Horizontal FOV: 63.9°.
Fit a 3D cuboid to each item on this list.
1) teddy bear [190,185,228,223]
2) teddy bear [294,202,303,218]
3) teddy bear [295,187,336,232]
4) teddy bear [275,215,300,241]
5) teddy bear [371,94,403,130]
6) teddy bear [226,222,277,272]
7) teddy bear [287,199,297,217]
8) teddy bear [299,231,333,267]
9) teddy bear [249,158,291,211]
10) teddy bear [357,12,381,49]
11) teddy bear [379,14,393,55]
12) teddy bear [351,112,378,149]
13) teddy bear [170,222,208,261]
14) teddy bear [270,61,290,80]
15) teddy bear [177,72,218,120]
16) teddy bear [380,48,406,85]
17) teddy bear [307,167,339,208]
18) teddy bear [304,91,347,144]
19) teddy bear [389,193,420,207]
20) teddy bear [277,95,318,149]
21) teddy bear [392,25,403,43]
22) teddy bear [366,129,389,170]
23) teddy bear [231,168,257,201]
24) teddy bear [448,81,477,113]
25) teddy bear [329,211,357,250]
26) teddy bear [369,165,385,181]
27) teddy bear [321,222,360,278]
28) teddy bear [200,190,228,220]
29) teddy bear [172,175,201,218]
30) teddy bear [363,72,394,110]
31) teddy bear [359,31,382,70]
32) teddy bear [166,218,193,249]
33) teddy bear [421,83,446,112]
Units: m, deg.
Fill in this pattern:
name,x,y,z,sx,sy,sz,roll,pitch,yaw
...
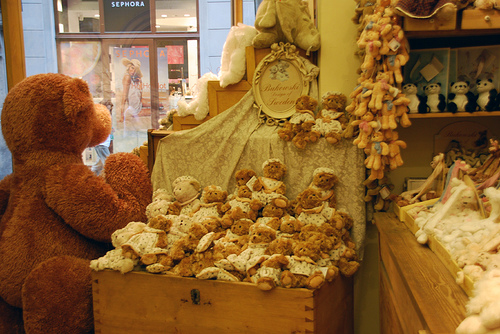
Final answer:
name,x,y,z,sx,sy,sz,roll,pitch,yaw
teddy bear,-0.274,0.272,2.878,0.200,0.287,0.235,15,-6,17
teddy bear,0.320,0.291,2.692,0.028,0.119,0.088,-1,11,-14
teddy bear,0.417,0.262,2.674,0.258,0.353,0.176,-13,24,3
teddy bear,0.231,0.404,2.583,0.174,0.115,0.207,-2,11,-19
teddy bear,0.855,-0.356,2.497,0.216,0.268,0.080,-2,-6,21
teddy bear,0.035,0.489,2.479,0.242,0.276,0.340,-3,14,12
teddy bear,0.286,0.286,2.731,0.034,0.099,0.074,19,-25,-42
teddy bear,0.404,0.515,2.484,0.208,0.200,0.135,4,11,9
teddy bear,0.139,0.116,2.773,0.295,0.378,0.234,7,7,3
teddy bear,0.740,-0.859,2.510,0.068,0.211,0.094,31,-7,-23
teddy bear,0.817,-0.805,2.433,0.073,0.236,0.064,-5,13,-33
teddy bear,0.730,-0.236,2.545,0.084,0.257,0.189,3,11,-36
teddy bear,-0.381,0.470,2.514,0.191,0.227,0.247,6,16,25
teddy bear,0.229,-0.724,2.997,0.120,0.127,0.038,5,7,18
teddy bear,-0.417,-0.564,3.247,0.333,0.358,0.211,1,10,3
teddy bear,0.884,-0.635,2.484,0.141,0.265,0.074,-6,-4,29
teddy bear,0.500,0.130,2.777,0.175,0.278,0.179,-6,14,-14
teddy bear,0.534,-0.345,2.812,0.280,0.404,0.253,7,0,12
teddy bear,1.024,0.211,2.665,0.144,0.068,0.174,0,11,-8
teddy bear,0.335,-0.316,2.846,0.248,0.393,0.248,3,12,3
teddy bear,0.889,-0.804,2.423,0.071,0.098,0.036,1,11,-5
teddy bear,0.793,-0.101,2.538,0.150,0.249,0.076,6,-2,37
teddy bear,-0.037,0.127,2.829,0.113,0.188,0.149,32,-29,-27
teddy bear,1.384,-0.458,2.628,0.170,0.209,0.169,5,11,16
teddy bear,0.624,0.392,2.721,0.195,0.259,0.247,5,15,17
teddy bear,0.815,-0.004,2.578,0.086,0.077,0.170,9,20,23
teddy bear,0.588,0.534,2.670,0.243,0.355,0.316,5,15,15
teddy bear,-0.246,0.272,2.781,0.157,0.218,0.107,1,-29,13
teddy bear,-0.449,0.224,2.857,0.203,0.288,0.161,-17,-18,41
teddy bear,0.792,-0.466,2.473,0.159,0.232,0.090,0,11,-8
teddy bear,0.737,-0.717,2.479,0.057,0.230,0.145,-7,14,-39
teddy bear,-0.457,0.440,2.654,0.144,0.174,0.142,0,10,7
teddy bear,1.214,-0.451,2.649,0.134,0.216,0.152,3,-5,-38
